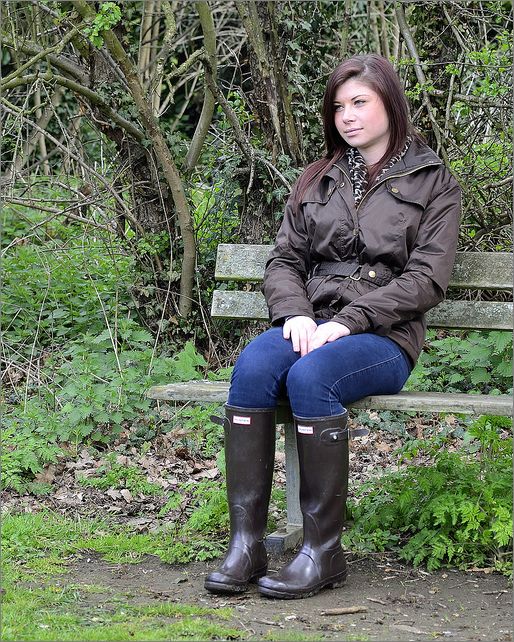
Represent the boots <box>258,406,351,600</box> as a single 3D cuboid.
[{"bbox_3d":[0.146,0.538,1.949,0.295,0.525,0.120,2,-2,-40],"label":"boots"}]
